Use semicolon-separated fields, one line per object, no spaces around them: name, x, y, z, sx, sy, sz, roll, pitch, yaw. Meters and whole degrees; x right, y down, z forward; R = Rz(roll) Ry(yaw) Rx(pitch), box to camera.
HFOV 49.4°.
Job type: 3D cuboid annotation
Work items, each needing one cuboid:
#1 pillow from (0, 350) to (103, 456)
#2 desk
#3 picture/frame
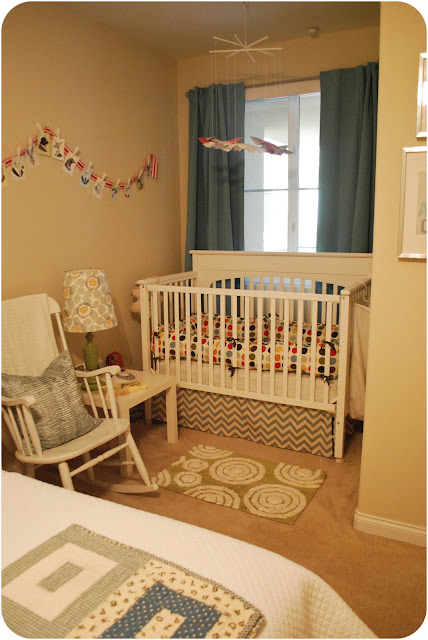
pillow;-0.752;0.387;2.123;0.274;0.460;0.499;-11;5;36
desk;-0.494;0.534;2.715;0.455;0.495;0.475;2;4;33
picture/frame;0.685;-0.531;1.586;0.092;0.654;0.108;3;8;22
